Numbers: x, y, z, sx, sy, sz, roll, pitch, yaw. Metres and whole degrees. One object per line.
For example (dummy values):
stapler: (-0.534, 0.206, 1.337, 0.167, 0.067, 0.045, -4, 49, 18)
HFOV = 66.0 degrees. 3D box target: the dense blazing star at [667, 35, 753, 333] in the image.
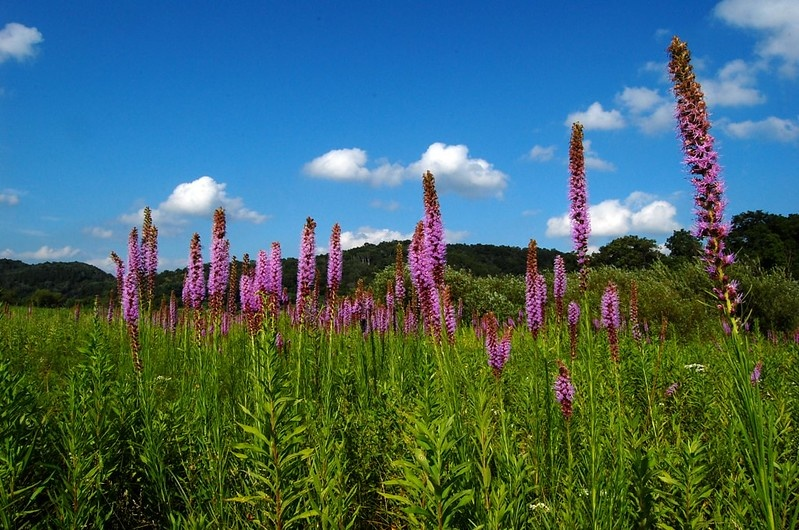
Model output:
dense blazing star: (2.609, -0.734, 5.275, 0.511, 2.626, 0.527, -2, -5, 30)
